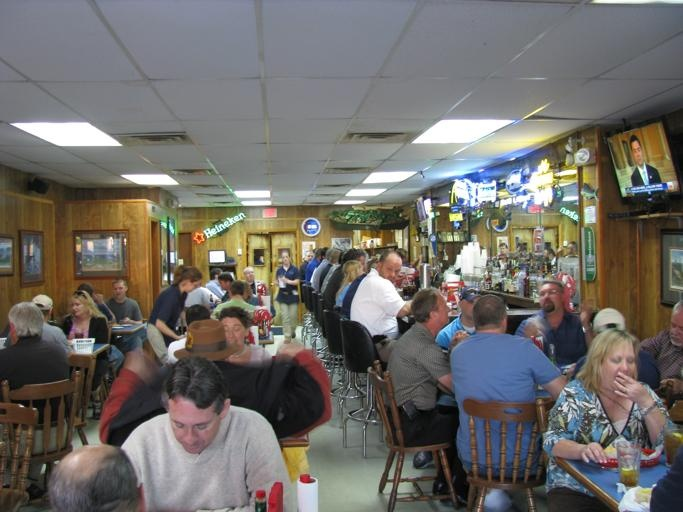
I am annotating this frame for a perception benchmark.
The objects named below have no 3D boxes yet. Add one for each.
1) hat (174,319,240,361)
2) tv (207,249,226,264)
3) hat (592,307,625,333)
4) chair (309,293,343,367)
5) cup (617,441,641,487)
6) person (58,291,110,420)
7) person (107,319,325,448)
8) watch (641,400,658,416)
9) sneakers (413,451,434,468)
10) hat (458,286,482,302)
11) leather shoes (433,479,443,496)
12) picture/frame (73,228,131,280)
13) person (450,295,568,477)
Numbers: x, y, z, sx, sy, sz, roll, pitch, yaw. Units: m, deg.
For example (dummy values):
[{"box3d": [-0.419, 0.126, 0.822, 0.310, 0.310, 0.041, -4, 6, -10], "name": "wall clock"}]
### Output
[{"box3d": [-0.857, 0.521, 3.169, 0.386, 0.190, 0.429, -9, 2, -22], "name": "hat"}, {"box3d": [-3.316, 0.034, 13.584, 0.634, 0.492, 0.314, 1, -5, -7], "name": "tv"}, {"box3d": [2.193, 0.524, 4.166, 0.166, 0.194, 0.213, 8, 10, 13], "name": "hat"}, {"box3d": [-0.204, 0.966, 6.847, 0.433, 0.508, 1.292, -1, 4, -9], "name": "chair"}, {"box3d": [1.424, 1.007, 2.487, 0.173, 0.172, 0.085, -1, -2, -25], "name": "cup"}, {"box3d": [-3.069, 1.095, 5.953, 0.525, 1.303, 0.729, -1, 4, -3], "name": "person"}, {"box3d": [-0.801, 0.760, 3.108, 1.347, 0.590, 1.262, -2, 11, -4], "name": "person"}, {"box3d": [1.737, 0.850, 2.855, 0.082, 0.046, 0.081, -31, -16, 36], "name": "watch"}, {"box3d": [0.728, 1.831, 4.571, 0.299, 0.120, 0.099, 9, -14, -35], "name": "sneakers"}, {"box3d": [1.221, 0.368, 4.799, 0.214, 0.127, 0.336, 0, -2, -2], "name": "hat"}, {"box3d": [0.774, 1.832, 4.031, 0.105, 0.142, 0.084, -1, -2, 4], "name": "leather shoes"}, {"box3d": [-4.402, -0.012, 9.171, 0.995, 0.886, 0.067, 0, -4, -17], "name": "picture/frame"}, {"box3d": [1.172, 0.928, 3.665, 0.876, 1.196, 0.768, 0, -6, 11], "name": "person"}]
